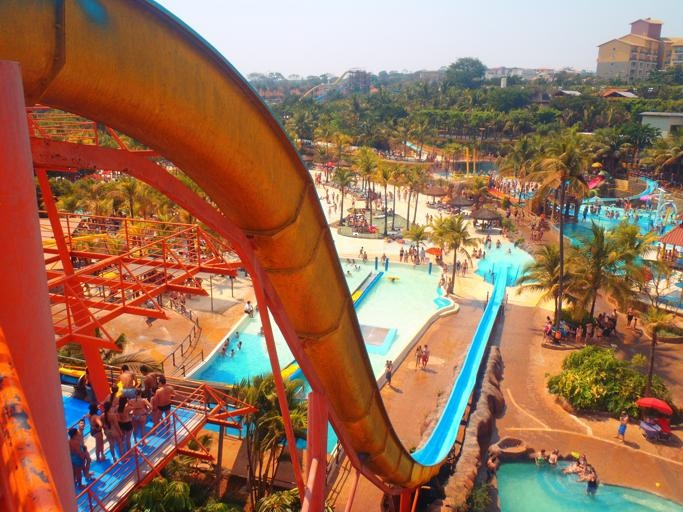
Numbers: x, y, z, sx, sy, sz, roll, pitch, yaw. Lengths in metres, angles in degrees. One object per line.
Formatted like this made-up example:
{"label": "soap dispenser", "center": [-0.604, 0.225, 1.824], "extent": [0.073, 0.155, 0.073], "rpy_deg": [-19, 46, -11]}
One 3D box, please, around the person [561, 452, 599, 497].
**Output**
{"label": "person", "center": [9.286, 8.389, 17.707], "extent": [0.541, 0.861, 1.240], "rpy_deg": [32, 21, -55]}

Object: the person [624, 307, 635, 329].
{"label": "person", "center": [18.374, 3.775, 29.369], "extent": [0.427, 1.183, 1.248], "rpy_deg": [7, 16, 35]}

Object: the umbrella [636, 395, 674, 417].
{"label": "umbrella", "center": [13.084, 6.257, 19.507], "extent": [1.297, 0.466, 1.344], "rpy_deg": [18, -22, 19]}
